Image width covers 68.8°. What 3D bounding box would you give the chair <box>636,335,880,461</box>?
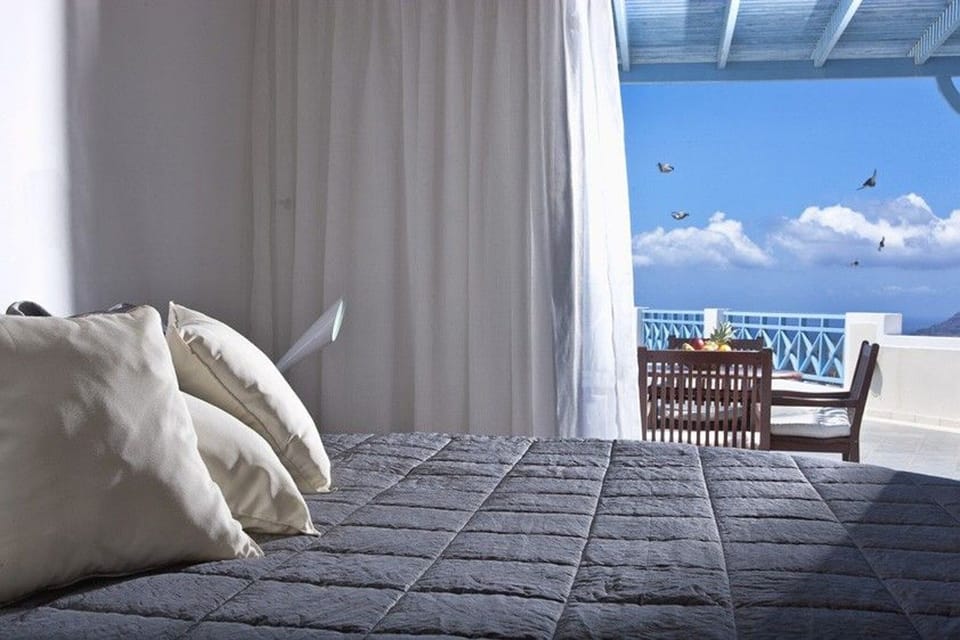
[{"bbox_3d":[1.280,0.393,3.384,1.080,0.636,0.630,1,-1,9],"label":"chair"}]
